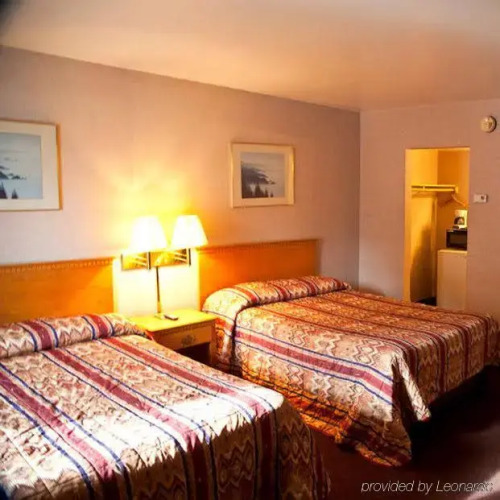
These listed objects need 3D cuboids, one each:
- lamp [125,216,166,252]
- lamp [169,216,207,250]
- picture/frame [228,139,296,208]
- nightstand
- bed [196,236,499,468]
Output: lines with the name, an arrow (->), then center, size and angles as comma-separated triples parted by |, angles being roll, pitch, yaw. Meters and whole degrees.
lamp -> -0.806, -0.106, 3.372 | 0.256, 0.260, 0.265 | -6, 6, 30
lamp -> -0.494, -0.147, 3.564 | 0.178, 0.262, 0.248 | 5, 7, 35
picture/frame -> 0.091, -0.747, 4.335 | 0.015, 0.514, 0.698 | 4, 7, 44
nightstand -> -0.578, 0.762, 3.505 | 0.553, 0.539, 0.400 | -9, 14, -36
bed -> 0.545, 0.620, 3.469 | 1.461, 0.939, 1.782 | -10, 15, -40
